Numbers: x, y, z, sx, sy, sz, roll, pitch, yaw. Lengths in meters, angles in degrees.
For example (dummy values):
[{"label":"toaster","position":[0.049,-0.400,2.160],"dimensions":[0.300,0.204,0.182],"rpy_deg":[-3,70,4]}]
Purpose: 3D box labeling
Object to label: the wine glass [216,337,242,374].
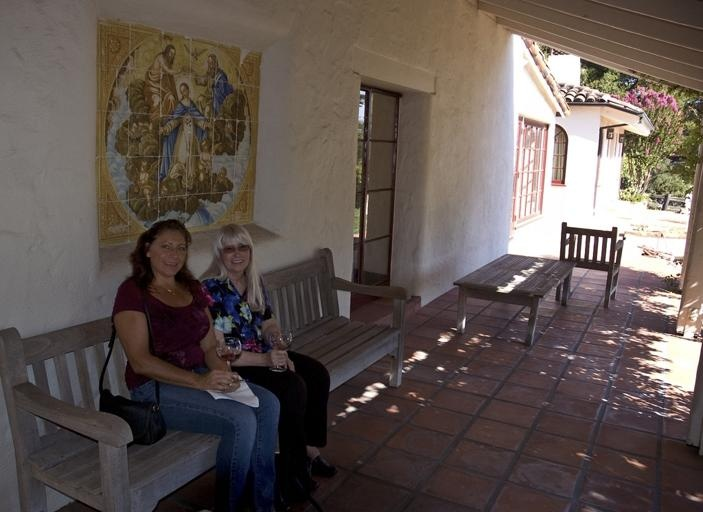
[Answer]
[{"label":"wine glass","position":[-0.704,0.552,2.817],"dimensions":[0.156,0.237,0.144],"rpy_deg":[-7,12,-31]}]
